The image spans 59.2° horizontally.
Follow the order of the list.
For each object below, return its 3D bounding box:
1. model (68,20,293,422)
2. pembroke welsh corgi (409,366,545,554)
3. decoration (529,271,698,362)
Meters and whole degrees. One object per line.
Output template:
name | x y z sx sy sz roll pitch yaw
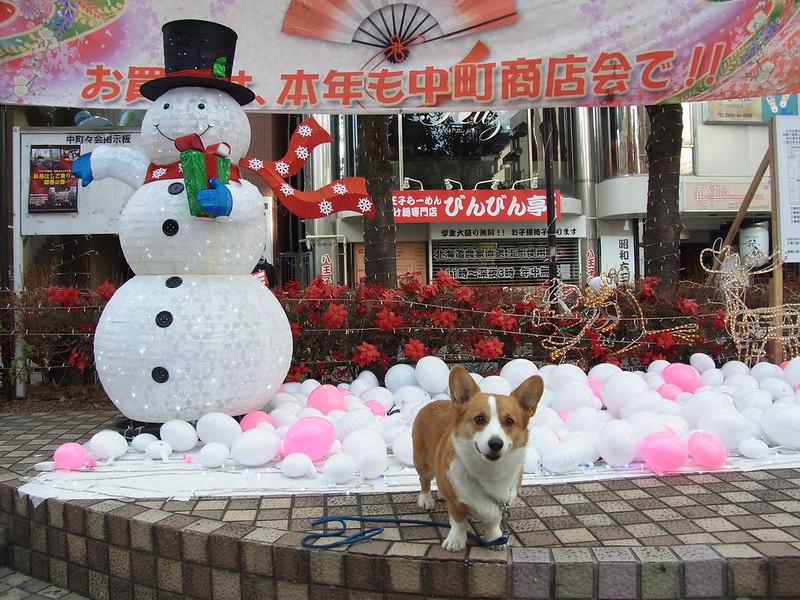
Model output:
model | -1.756 -0.637 6.009 1.601 3.404 0.741 -1 2 -10
pembroke welsh corgi | 0.425 0.951 4.500 0.543 1.120 0.788 -3 3 -42
decoration | 2.378 0.116 8.250 1.682 0.860 1.061 0 1 -7
